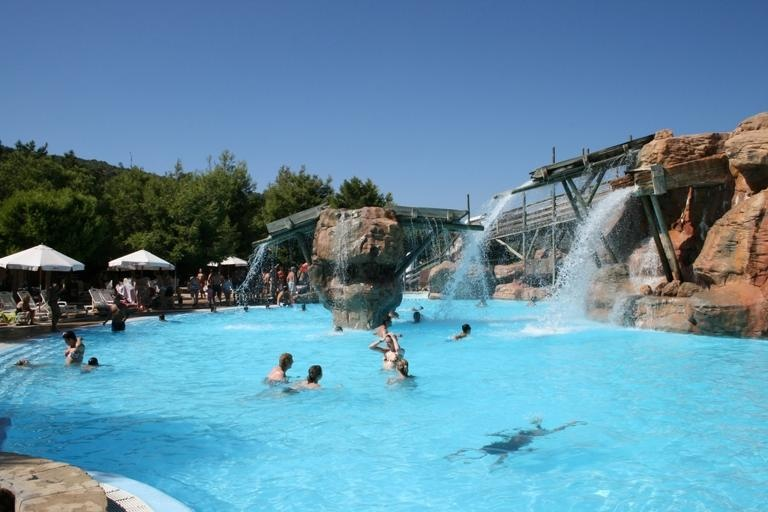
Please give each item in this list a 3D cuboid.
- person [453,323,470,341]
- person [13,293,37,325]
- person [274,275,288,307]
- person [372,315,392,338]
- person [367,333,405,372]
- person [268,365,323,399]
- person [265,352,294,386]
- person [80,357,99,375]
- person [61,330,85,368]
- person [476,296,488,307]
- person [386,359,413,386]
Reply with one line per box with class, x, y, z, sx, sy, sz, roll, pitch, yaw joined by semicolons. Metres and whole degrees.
person;2.583;2.446;19.876;0.550;0.610;0.849;0;13;5
person;-13.299;1.996;22.083;0.672;1.036;0.576;0;2;-12
person;-5.760;1.949;33.179;0.788;0.732;2.197;15;36;-16
person;-0.066;2.163;18.393;0.324;0.574;1.115;6;19;18
person;0.032;2.593;16.187;0.711;1.405;0.635;-11;23;-14
person;-1.983;2.978;14.085;1.027;0.407;0.629;-8;4;-22
person;-2.593;2.723;14.763;0.684;0.720;0.754;-1;5;-36
person;-7.842;2.889;15.887;0.440;0.321;0.999;-8;14;-25
person;-8.471;2.775;16.166;0.526;1.417;0.606;4;0;-28
person;5.247;2.375;31.290;0.740;0.734;0.731;1;-6;6
person;0.417;2.857;14.935;0.644;0.511;0.951;-1;13;4
